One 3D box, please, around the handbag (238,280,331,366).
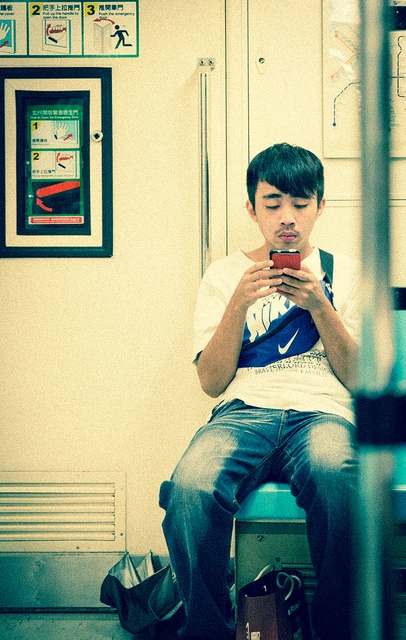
[{"bbox_3d":[0.172,0.022,1.518,0.169,0.172,0.067,-21,-6,-3],"label":"handbag"}]
